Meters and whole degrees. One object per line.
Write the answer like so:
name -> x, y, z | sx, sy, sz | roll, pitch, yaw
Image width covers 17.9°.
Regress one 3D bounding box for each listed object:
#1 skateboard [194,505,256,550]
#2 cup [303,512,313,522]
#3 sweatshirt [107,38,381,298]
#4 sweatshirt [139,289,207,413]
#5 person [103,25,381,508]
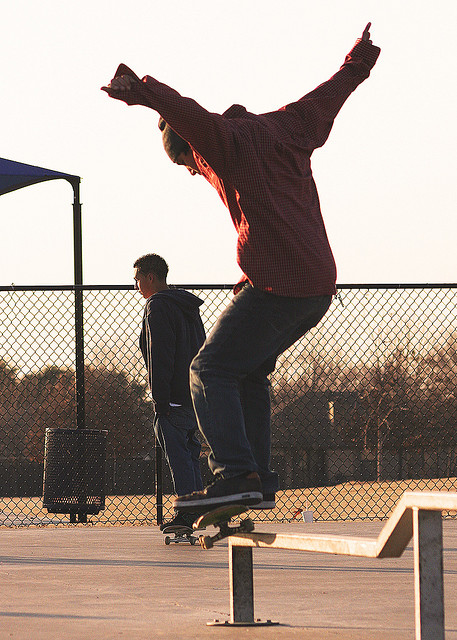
skateboard -> -0.019, 0.720, 5.019 | 0.201, 0.123, 0.350 | -17, -12, -9
cup -> 0.415, 1.018, 7.533 | 0.061, 0.072, 0.048 | 0, -4, -10
sweatshirt -> 0.107, -0.448, 5.110 | 1.253, 0.960, 0.520 | 0, -13, -46
sweatshirt -> -0.255, 0.132, 6.558 | 0.245, 0.627, 0.456 | -2, -10, 13
person -> 0.084, -0.205, 4.948 | 0.937, 1.648, 0.354 | -1, -3, -5
